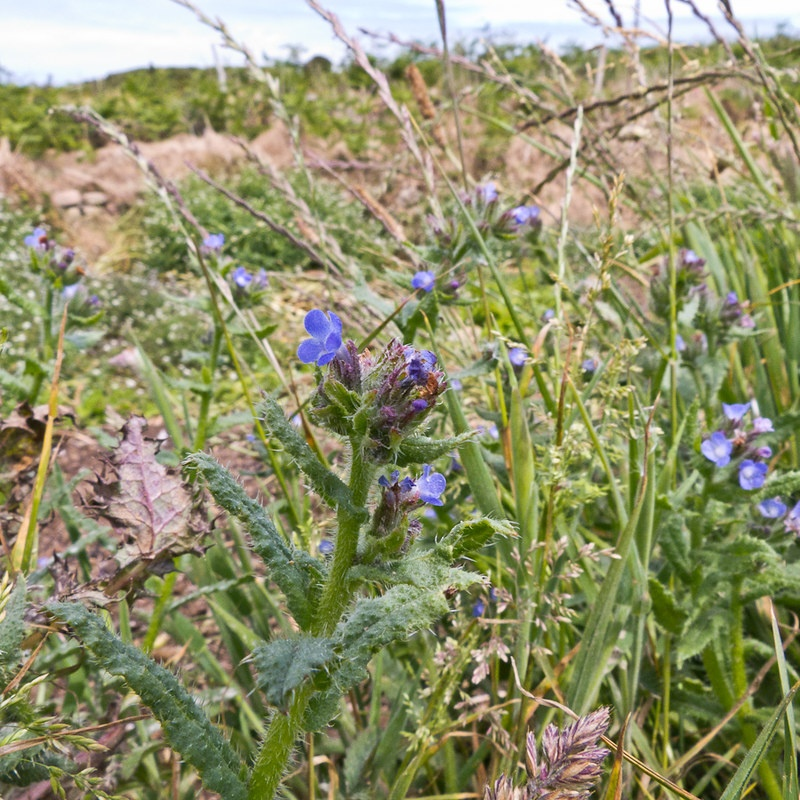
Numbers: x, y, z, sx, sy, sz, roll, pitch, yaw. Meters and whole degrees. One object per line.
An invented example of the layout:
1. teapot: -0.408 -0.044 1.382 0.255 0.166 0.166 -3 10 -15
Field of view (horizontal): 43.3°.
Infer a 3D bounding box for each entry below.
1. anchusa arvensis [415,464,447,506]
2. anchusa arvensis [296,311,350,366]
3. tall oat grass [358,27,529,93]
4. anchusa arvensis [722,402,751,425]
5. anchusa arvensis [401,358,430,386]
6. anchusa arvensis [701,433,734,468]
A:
1. anchusa arvensis: 0.068 0.194 2.282 0.029 0.087 0.075 -13 -38 38
2. anchusa arvensis: -0.178 -0.135 2.152 0.107 0.103 0.075 -10 18 -26
3. tall oat grass: 0.137 -1.185 3.773 0.136 0.153 1.210 30 0 -28
4. anchusa arvensis: 0.924 0.033 2.765 0.067 0.049 0.056 -22 29 -31
5. anchusa arvensis: 0.038 -0.062 2.150 0.049 0.062 0.029 -6 17 -15
6. anchusa arvensis: 0.822 0.128 2.615 0.074 0.092 0.076 6 18 21
